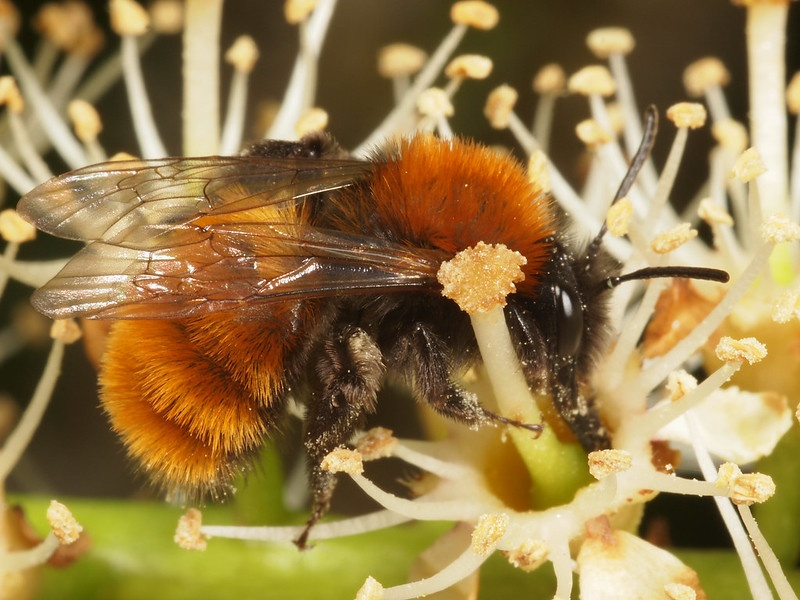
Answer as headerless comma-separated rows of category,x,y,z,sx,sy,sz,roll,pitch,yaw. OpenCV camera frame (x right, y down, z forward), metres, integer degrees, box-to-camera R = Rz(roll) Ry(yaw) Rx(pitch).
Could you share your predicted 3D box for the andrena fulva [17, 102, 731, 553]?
andrena fulva,-0.028,-0.005,1.270,0.771,0.300,0.564,-8,35,-8
